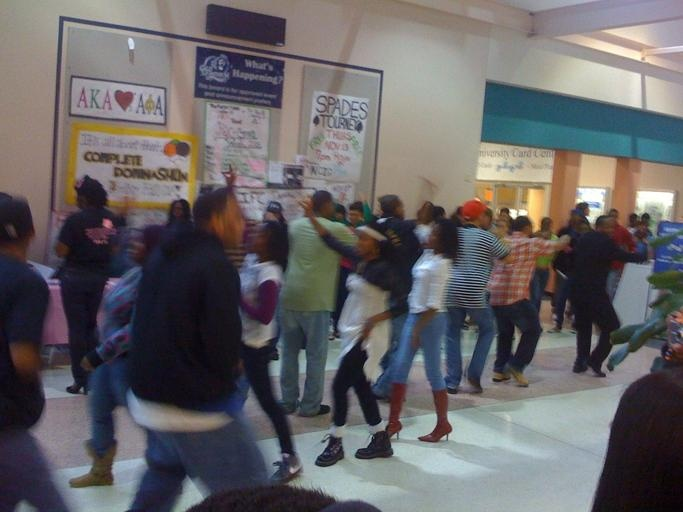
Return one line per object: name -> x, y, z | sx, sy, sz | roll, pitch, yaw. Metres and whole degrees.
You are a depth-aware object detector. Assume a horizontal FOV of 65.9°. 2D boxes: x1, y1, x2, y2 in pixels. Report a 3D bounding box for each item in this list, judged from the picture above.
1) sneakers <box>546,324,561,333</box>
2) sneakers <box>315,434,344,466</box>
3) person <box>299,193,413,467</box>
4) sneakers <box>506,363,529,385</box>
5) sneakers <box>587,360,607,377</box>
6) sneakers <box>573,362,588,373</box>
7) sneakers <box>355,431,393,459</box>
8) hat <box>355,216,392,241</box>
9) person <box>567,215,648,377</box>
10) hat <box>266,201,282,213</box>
sneakers -> 3.512, 1.217, 8.718 | 0.223, 0.090, 0.093 | 3, -2, -17
sneakers -> -0.087, 1.419, 3.867 | 0.121, 0.198, 0.317 | 8, -4, 38
person -> 0.185, 0.621, 3.992 | 0.559, 1.770, 0.681 | 5, 6, 5
sneakers -> 1.972, 1.332, 5.949 | 0.118, 0.266, 0.098 | -40, -2, 13
sneakers -> 3.147, 1.373, 6.481 | 0.198, 0.174, 0.268 | 8, 7, 31
sneakers -> 2.944, 1.368, 6.496 | 0.068, 0.135, 0.136 | 8, -7, 45
sneakers -> 0.265, 1.442, 4.067 | 0.346, 0.224, 0.141 | 3, 1, -5
hat -> 0.235, -0.183, 3.823 | 0.234, 0.133, 0.208 | 4, 6, 1
person -> 3.154, 0.491, 6.509 | 0.648, 1.943, 0.634 | 7, 7, 27
hat -> -0.747, -0.548, 5.932 | 0.181, 0.088, 0.249 | 10, 2, -6
